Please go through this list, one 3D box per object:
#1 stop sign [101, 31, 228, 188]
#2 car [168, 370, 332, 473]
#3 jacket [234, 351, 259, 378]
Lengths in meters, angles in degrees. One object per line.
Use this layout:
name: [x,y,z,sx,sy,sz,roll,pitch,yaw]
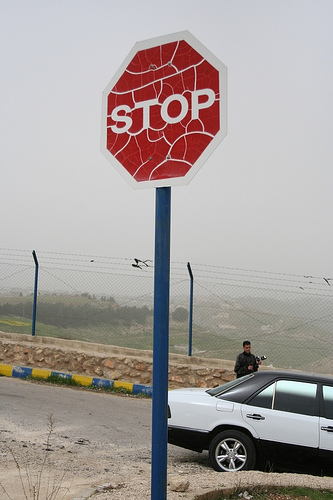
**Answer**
stop sign: [-0.023,-0.689,3.397,0.655,0.760,0.092,-2,-4,25]
car: [0.838,1.753,7.241,1.703,0.756,0.842,-2,-5,15]
jacket: [1.137,1.598,9.890,0.353,0.474,0.299,9,-26,-19]
